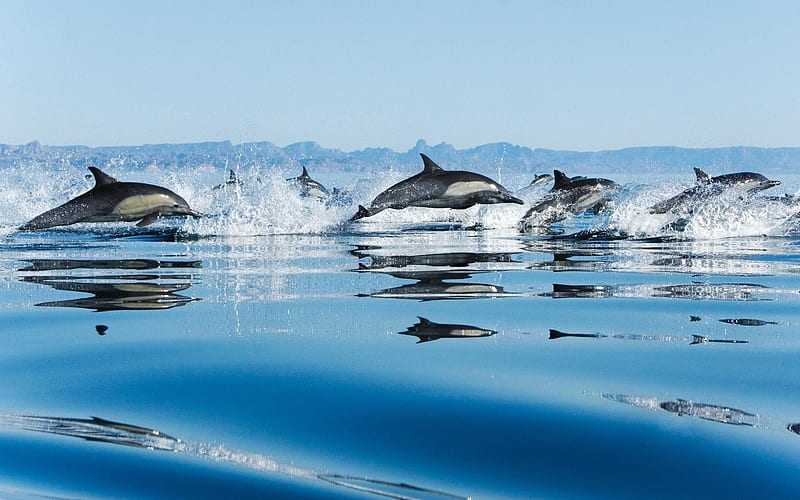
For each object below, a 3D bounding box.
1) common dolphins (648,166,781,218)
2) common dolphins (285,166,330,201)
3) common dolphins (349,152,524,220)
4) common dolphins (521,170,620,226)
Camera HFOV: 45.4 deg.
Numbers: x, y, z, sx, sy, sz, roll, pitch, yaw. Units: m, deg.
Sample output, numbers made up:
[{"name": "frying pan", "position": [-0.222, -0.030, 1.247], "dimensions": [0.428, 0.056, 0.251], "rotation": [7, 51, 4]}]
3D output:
[{"name": "common dolphins", "position": [7.438, -1.298, 23.907], "dimensions": [3.603, 1.270, 1.086], "rotation": [-5, 40, 32]}, {"name": "common dolphins", "position": [-4.334, -3.159, 42.449], "dimensions": [0.750, 0.857, 2.475], "rotation": [23, 5, 24]}, {"name": "common dolphins", "position": [0.978, -1.448, 22.425], "dimensions": [4.780, 1.609, 1.398], "rotation": [-2, 2, 6]}, {"name": "common dolphins", "position": [4.521, -1.333, 25.365], "dimensions": [2.367, 1.501, 0.903], "rotation": [1, 11, 8]}]
